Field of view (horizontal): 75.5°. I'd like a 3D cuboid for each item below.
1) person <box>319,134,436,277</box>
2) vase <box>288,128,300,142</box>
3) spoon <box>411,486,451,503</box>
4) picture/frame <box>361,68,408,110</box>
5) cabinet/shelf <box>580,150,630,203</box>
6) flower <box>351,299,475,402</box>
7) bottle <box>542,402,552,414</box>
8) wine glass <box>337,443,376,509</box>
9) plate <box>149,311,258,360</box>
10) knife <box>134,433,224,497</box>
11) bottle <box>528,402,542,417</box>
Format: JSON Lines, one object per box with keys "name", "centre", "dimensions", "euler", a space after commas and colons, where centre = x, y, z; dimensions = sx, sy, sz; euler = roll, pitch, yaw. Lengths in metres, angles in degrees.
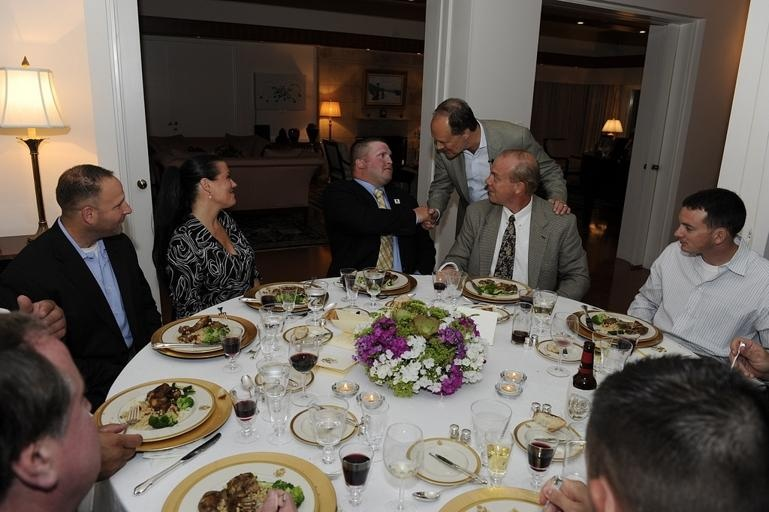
{"name": "person", "centre": [-0.025, -0.310, 3.624], "dimensions": [0.824, 1.007, 0.524], "euler": [-4, 21, -9]}
{"name": "vase", "centre": [-2.000, -2.761, 11.375], "dimensions": [0.294, 0.341, 0.306], "euler": [0, 4, 7]}
{"name": "spoon", "centre": [0.150, 0.737, 1.551], "dimensions": [0.141, 0.027, 0.036], "euler": [-3, 14, -27]}
{"name": "picture/frame", "centre": [-0.055, -4.121, 12.131], "dimensions": [0.983, 0.782, 0.074], "euler": [-4, 14, -23]}
{"name": "cabinet/shelf", "centre": [3.596, -1.319, 8.253], "dimensions": [0.923, 0.959, 0.772], "euler": [4, 17, 13]}
{"name": "flower", "centre": [0.114, 0.346, 1.937], "dimensions": [0.366, 0.223, 0.389], "euler": [-12, 27, -37]}
{"name": "bottle", "centre": [0.606, 0.584, 1.861], "dimensions": [0.032, 0.039, 0.033], "euler": [-6, 27, -8]}
{"name": "wine glass", "centre": [-0.086, 0.683, 1.503], "dimensions": [0.136, 0.239, 0.144], "euler": [-2, 19, -4]}
{"name": "plate", "centre": [-0.817, 0.370, 2.273], "dimensions": [0.258, 0.038, 0.261], "euler": [18, 22, 41]}
{"name": "knife", "centre": [-0.667, 0.688, 1.595], "dimensions": [0.041, 0.018, 0.349], "euler": [27, 27, 19]}
{"name": "bottle", "centre": [0.565, 0.586, 1.858], "dimensions": [0.041, 0.046, 0.041], "euler": [-1, 7, -38]}
